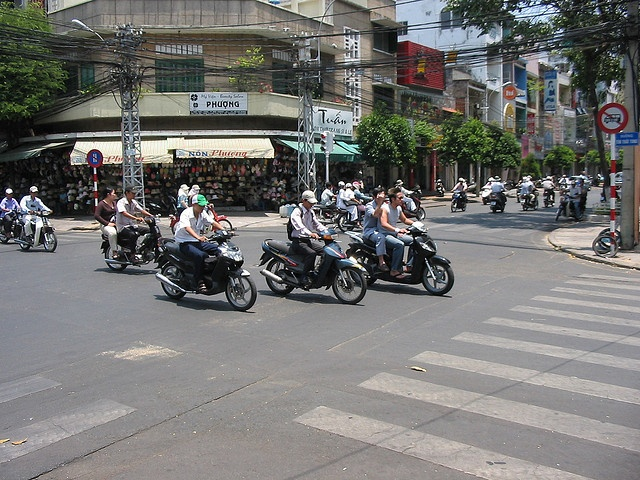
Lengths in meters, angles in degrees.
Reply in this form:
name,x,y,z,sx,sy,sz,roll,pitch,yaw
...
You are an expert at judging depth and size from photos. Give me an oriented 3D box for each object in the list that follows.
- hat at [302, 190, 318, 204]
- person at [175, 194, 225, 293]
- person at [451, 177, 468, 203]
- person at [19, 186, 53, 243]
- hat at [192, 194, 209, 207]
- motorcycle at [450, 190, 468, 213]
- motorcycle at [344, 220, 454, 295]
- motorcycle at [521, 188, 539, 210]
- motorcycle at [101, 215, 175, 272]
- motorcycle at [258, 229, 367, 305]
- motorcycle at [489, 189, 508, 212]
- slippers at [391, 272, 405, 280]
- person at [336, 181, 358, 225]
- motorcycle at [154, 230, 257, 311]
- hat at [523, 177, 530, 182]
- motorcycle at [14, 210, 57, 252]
name,x,y,z,sx,sy,sz,roll,pitch,yaw
hat,-0.241,-0.782,10.930,0.308,0.134,0.207,13,17,39
person,-2.080,0.000,10.539,1.143,1.552,0.936,3,15,6
person,6.900,-2.666,31.352,1.139,1.078,1.867,1,3,22
person,-8.212,-0.840,17.456,1.546,1.229,0.746,16,11,40
hat,-2.057,-0.694,10.359,0.196,0.131,0.275,-12,24,-42
motorcycle,7.079,-1.967,30.925,0.758,1.115,1.400,1,11,11
motorcycle,1.479,0.302,11.567,2.449,1.188,0.943,3,-2,42
motorcycle,10.974,-2.151,31.972,0.694,0.842,1.626,7,19,35
motorcycle,-3.974,0.065,13.797,2.154,1.107,0.675,-7,-9,23
motorcycle,-0.153,0.440,10.945,2.381,1.154,0.843,1,-7,40
motorcycle,8.692,-1.864,29.784,0.839,1.062,0.429,-6,13,-24
slippers,1.451,0.664,11.283,0.246,0.057,0.090,3,0,31
person,1.027,-1.294,21.788,0.753,1.340,1.070,-1,11,2
motorcycle,-1.929,0.494,10.445,2.128,1.299,0.492,6,14,31
hat,10.794,-3.214,31.778,0.416,0.135,0.509,-2,5,9
motorcycle,-7.954,-0.237,17.242,1.350,1.155,0.565,9,15,41
